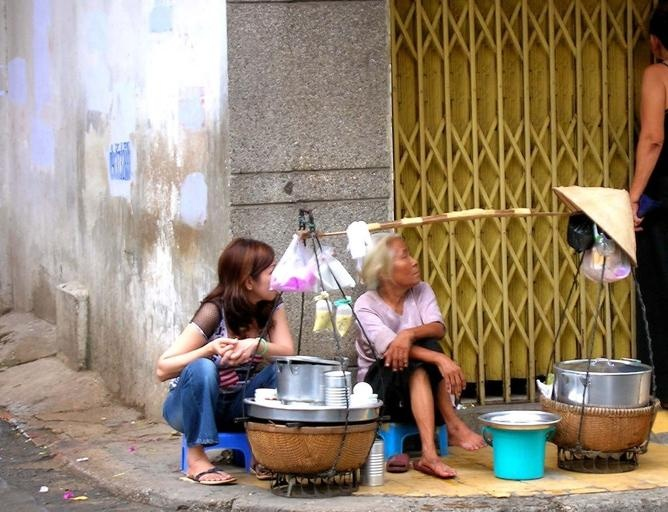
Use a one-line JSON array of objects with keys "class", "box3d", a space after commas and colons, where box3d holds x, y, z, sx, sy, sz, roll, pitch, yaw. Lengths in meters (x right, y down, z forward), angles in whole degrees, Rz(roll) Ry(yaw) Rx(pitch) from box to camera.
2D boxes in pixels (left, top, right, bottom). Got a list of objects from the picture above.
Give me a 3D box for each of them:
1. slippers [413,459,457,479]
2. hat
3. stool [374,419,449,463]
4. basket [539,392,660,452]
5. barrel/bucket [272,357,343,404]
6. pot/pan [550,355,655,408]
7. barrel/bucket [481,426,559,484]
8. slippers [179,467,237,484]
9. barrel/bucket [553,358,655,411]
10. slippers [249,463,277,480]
[{"class": "slippers", "box3d": [0.654, 1.378, 6.175, 0.299, 0.155, 0.096, -2, -2, 37]}, {"class": "hat", "box3d": [1.705, -0.265, 6.010, 0.498, 0.225, 0.488, 37, 5, -43]}, {"class": "stool", "box3d": [0.527, 1.241, 6.552, 0.311, 0.267, 0.325, 0, -5, -15]}, {"class": "basket", "box3d": [1.793, 1.133, 6.242, 0.645, 0.279, 0.638, 4, -9, -41]}, {"class": "barrel/bucket", "box3d": [-0.149, 0.772, 5.891, 0.434, 0.350, 0.521, 4, -10, -11]}, {"class": "pot/pan", "box3d": [1.815, 0.840, 6.331, 0.644, 0.348, 0.808, -3, -5, 41]}, {"class": "barrel/bucket", "box3d": [1.198, 1.235, 6.132, 0.434, 0.378, 0.427, 0, 1, 0]}, {"class": "slippers", "box3d": [-0.806, 1.414, 6.050, 0.261, 0.062, 0.127, -5, -5, 33]}, {"class": "barrel/bucket", "box3d": [1.792, 0.833, 6.307, 0.884, 0.354, 0.666, 2, -4, -41]}, {"class": "slippers", "box3d": [-0.471, 1.393, 6.145, 0.087, 0.065, 0.220, 0, 4, -24]}]
